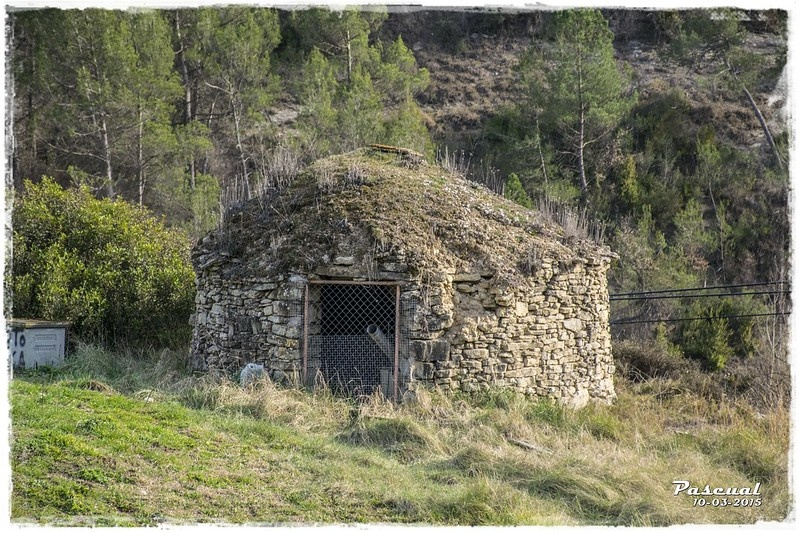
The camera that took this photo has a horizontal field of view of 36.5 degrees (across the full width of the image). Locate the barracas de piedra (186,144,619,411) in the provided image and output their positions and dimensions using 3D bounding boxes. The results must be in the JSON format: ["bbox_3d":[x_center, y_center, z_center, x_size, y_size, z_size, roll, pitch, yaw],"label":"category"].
[{"bbox_3d":[0.157,0.912,42.390,13.699,8.587,3.190,-2,11,0],"label":"barracas de piedra"}]
